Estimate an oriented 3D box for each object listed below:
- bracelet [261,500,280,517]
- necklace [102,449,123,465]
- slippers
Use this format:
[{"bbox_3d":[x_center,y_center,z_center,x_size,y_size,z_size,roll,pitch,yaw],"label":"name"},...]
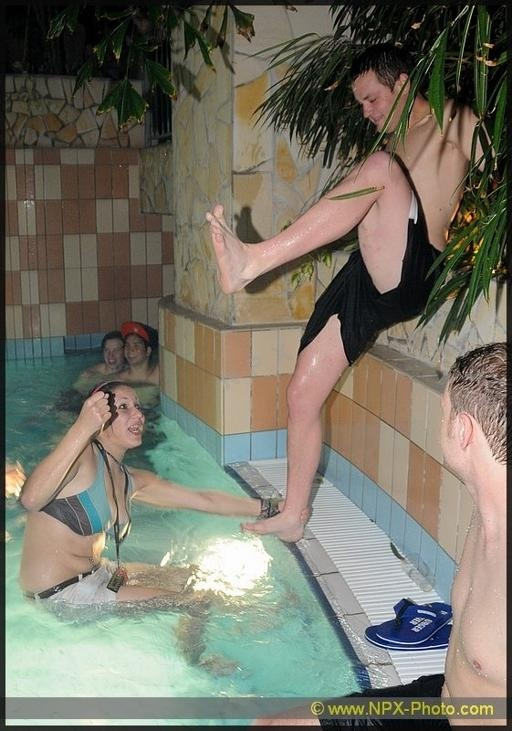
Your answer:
[{"bbox_3d":[0.059,0.626,2.478,0.041,0.059,0.128,2,7,13],"label":"bracelet"},{"bbox_3d":[-0.493,0.319,1.913,0.063,0.026,0.046,29,4,10],"label":"necklace"},{"bbox_3d":[0.461,0.702,1.641,0.160,0.057,0.264,-1,4,41],"label":"slippers"}]
